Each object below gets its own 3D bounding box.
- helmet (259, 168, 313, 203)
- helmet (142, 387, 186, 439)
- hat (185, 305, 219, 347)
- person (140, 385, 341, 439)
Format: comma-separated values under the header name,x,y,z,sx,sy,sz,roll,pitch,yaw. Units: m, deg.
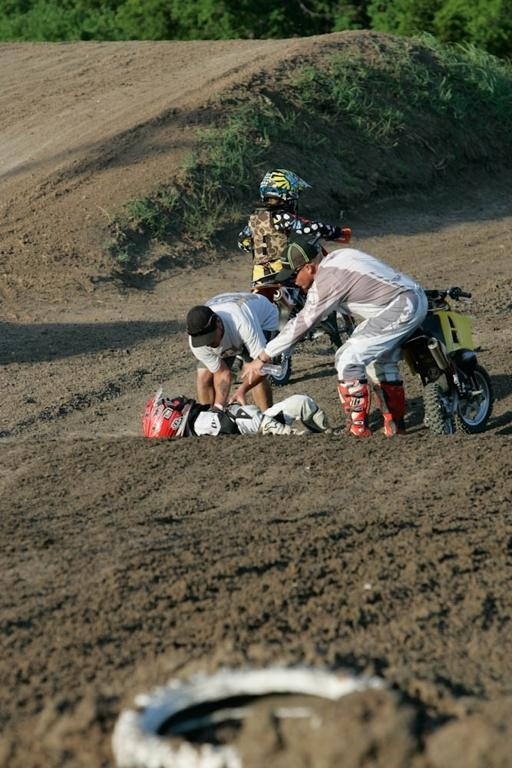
name,x,y,z,sx,sy,sz,roll,pitch,yaw
helmet,0.307,-1.772,6.987,0.491,0.274,0.320,-9,19,-25
helmet,-0.596,0.196,5.067,0.273,0.319,0.147,20,4,28
hat,-0.353,-0.386,5.146,0.195,0.251,0.150,-6,-23,18
person,-0.099,0.244,5.157,1.171,0.422,0.684,-1,1,10
